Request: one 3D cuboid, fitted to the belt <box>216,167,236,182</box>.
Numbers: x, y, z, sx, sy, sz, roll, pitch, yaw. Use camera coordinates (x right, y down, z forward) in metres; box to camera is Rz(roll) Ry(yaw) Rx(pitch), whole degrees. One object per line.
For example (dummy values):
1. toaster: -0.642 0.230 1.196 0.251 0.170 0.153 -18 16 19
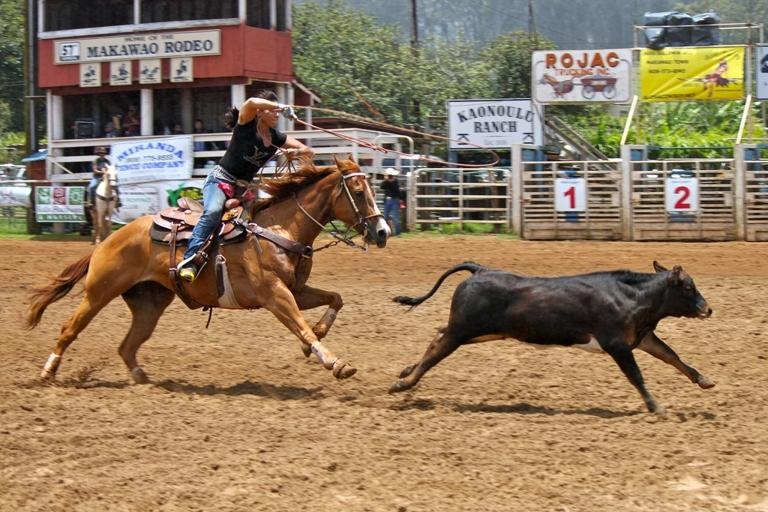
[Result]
1. belt: -2.335 -1.200 15.505 0.326 0.120 0.209 20 -7 18
